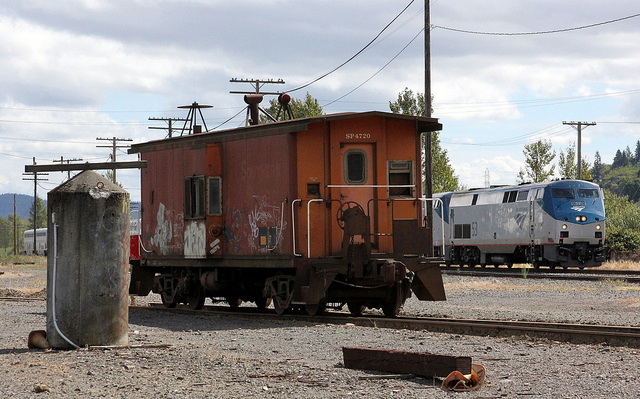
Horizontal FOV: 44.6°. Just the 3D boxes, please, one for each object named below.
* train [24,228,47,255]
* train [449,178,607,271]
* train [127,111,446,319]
[{"bbox_3d":[-36.242,5.269,97.067,1.773,3.426,9.622,4,-4,-5],"label":"train"},{"bbox_3d":[10.937,1.408,40.572,3.316,4.764,12.609,3,-3,-31],"label":"train"},{"bbox_3d":[-1.613,0.541,25.345,4.929,5.911,12.664,2,-3,-36],"label":"train"}]
